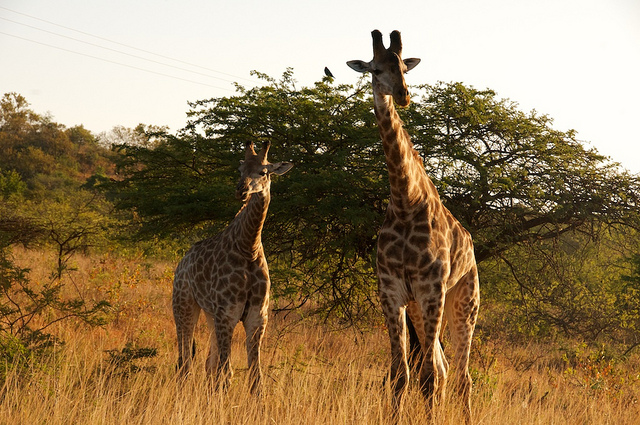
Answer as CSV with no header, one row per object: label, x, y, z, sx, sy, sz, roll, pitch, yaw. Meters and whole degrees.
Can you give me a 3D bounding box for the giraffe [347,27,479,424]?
giraffe,2.245,0.836,15.487,1.800,6.487,4.744,-5,-28,24
